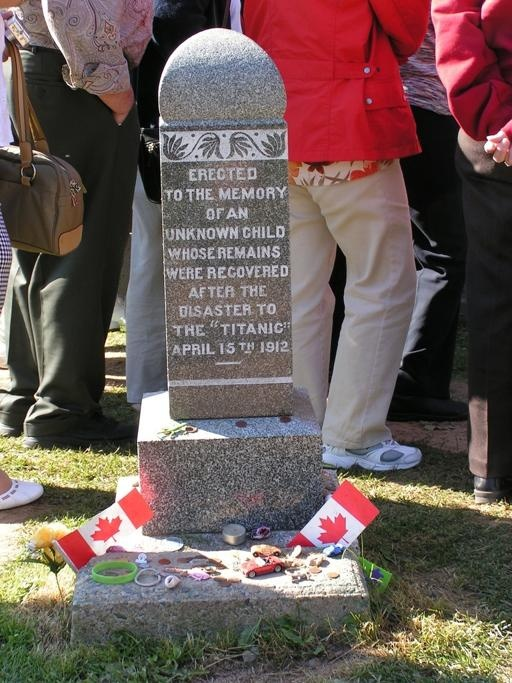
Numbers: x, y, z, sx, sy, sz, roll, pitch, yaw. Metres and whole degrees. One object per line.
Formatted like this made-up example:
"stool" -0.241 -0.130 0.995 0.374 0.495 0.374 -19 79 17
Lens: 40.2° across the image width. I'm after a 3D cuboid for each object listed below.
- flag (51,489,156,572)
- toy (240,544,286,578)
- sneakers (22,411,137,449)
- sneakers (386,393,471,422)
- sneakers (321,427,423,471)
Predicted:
"flag" -0.416 0.529 1.933 0.222 0.115 0.009 -33 14 -14
"toy" 0.022 0.559 1.780 0.115 0.034 0.129 0 7 -3
"sneakers" -0.779 0.373 3.203 0.511 0.189 0.166 -5 12 -29
"sneakers" 0.896 0.355 3.658 0.435 0.153 0.152 0 11 6
"sneakers" 0.487 0.466 2.982 0.440 0.182 0.152 0 -3 -2
